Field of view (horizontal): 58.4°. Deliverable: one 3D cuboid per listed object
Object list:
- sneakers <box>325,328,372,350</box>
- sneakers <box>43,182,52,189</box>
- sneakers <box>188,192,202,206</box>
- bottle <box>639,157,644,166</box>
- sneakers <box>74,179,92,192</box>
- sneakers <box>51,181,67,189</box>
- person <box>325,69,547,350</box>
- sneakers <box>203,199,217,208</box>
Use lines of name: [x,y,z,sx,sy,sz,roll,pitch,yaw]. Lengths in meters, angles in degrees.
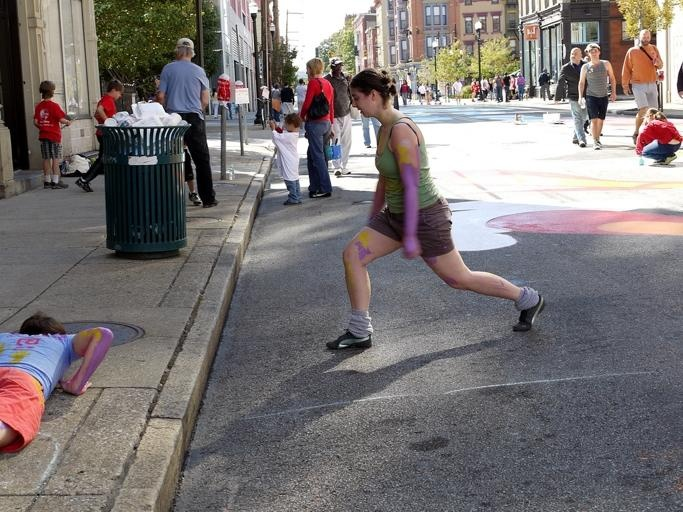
sneakers: [0.063,0.643,4.634,0.391,0.140,0.129,1,0,-4]
sneakers: [-6.305,-1.493,13.090,0.255,0.141,0.152,5,15,32]
sneakers: [-2.432,-0.949,10.285,0.145,0.151,0.389,-9,15,-42]
bottle: [6.850,-2.124,13.946,0.143,0.169,0.045,3,-4,21]
sneakers: [-5.299,-1.429,12.555,0.182,0.376,0.137,-44,-14,-15]
sneakers: [-6.091,-1.497,13.209,0.313,0.112,0.114,-2,3,-16]
person: [0.553,-0.325,4.448,1.460,1.993,0.485,-4,13,-2]
sneakers: [-2.115,-0.833,9.916,0.243,0.080,0.096,-13,-13,9]
